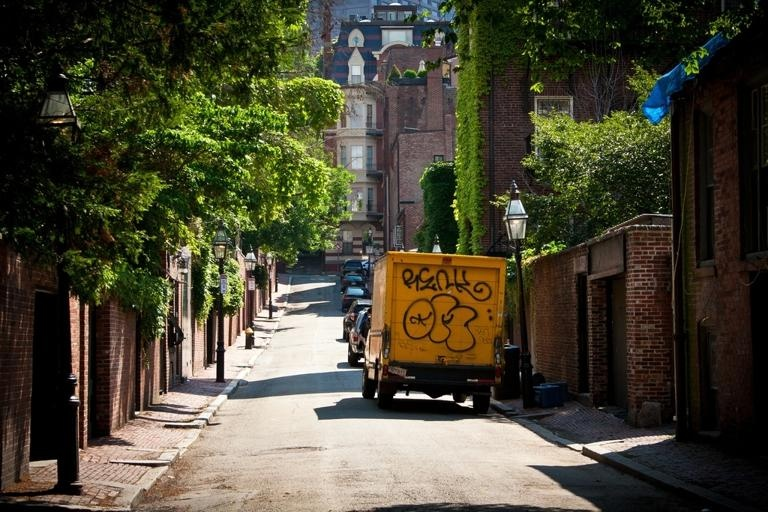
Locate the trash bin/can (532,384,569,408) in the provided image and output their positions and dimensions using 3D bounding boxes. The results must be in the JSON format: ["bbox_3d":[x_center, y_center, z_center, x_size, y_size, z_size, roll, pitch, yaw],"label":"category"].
[{"bbox_3d":[4.116,3.497,22.661,0.572,0.415,0.620,0,-5,-13],"label":"trash bin/can"}]

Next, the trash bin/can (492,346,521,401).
[{"bbox_3d":[3.412,3.219,24.884,0.869,1.370,0.907,-1,-1,-32],"label":"trash bin/can"}]

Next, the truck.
[{"bbox_3d":[1.265,1.665,21.517,2.242,2.775,4.465,3,-4,-7],"label":"truck"}]
